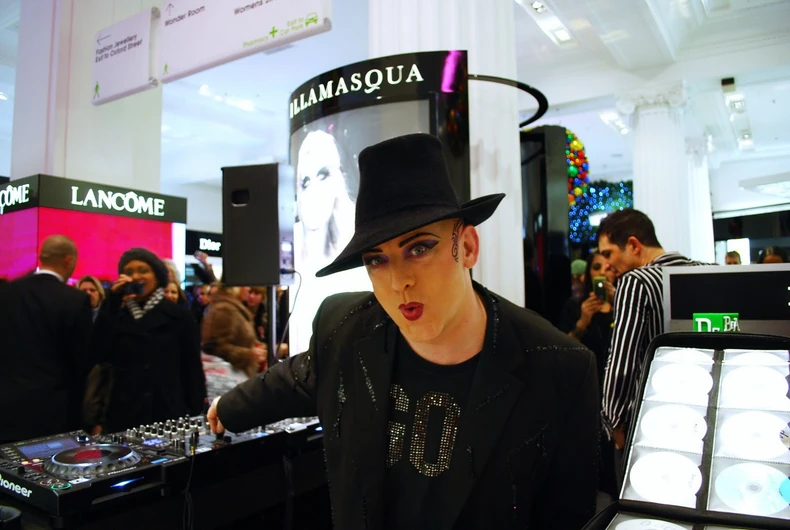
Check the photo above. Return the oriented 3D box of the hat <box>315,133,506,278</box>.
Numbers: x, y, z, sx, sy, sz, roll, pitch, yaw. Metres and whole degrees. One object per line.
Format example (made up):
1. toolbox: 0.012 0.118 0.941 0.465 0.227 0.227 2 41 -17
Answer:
1. hat: 0.053 -0.329 2.786 0.659 0.375 0.699 -23 0 -4
